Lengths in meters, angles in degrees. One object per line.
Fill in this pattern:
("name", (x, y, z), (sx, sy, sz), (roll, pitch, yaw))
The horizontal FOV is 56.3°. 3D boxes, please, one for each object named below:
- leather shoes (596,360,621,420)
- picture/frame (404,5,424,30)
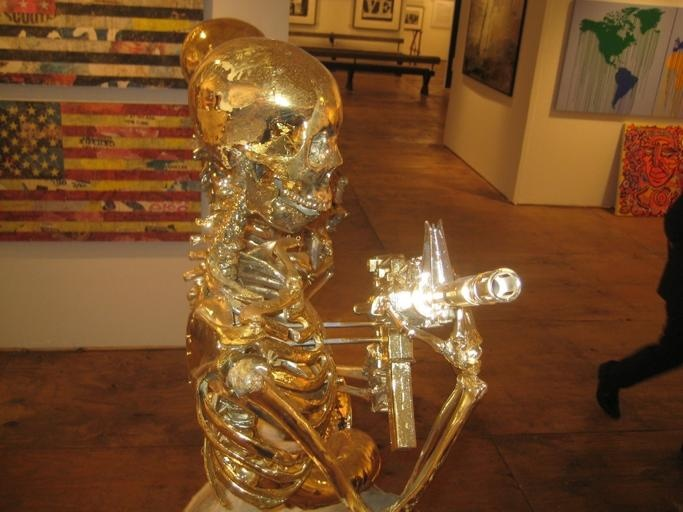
("leather shoes", (1.315, 0.651, 3.183), (0.099, 0.124, 0.305), (-1, 70, 3))
("picture/frame", (1.562, -5.038, 13.573), (0.526, 0.504, 0.125), (-10, 30, -29))
